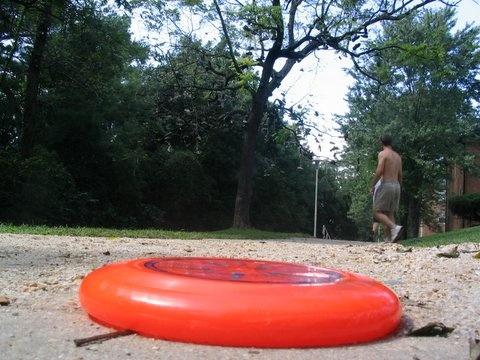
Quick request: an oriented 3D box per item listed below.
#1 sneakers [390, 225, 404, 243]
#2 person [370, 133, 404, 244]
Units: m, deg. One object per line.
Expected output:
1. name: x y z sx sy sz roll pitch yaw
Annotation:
1. sneakers: 2.909 1.019 8.669 0.170 0.149 0.411 11 -50 13
2. person: 2.836 0.161 9.049 0.604 2.042 0.983 2 0 17
